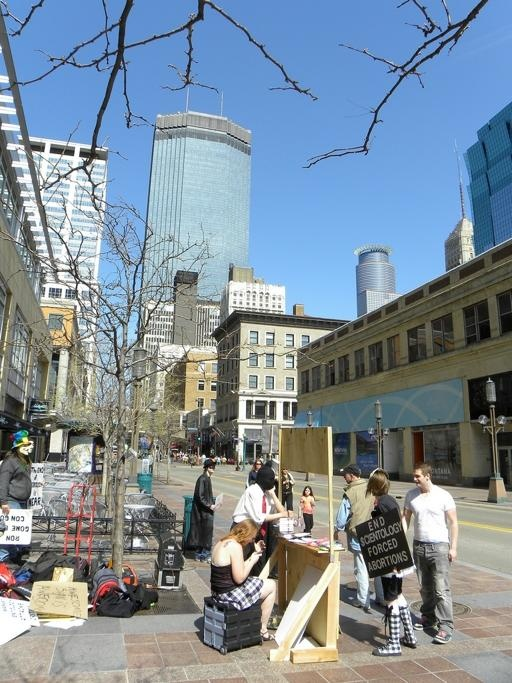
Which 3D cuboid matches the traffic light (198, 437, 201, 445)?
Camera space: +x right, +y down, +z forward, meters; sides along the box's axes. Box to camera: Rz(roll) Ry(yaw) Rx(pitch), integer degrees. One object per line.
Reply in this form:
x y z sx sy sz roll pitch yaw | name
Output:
-10.842 19.497 98.641 0.558 1.536 0.452 1 -13 0 | traffic light

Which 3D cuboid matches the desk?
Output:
0.333 2.638 5.347 0.706 0.932 1.182 9 -13 -18 | desk

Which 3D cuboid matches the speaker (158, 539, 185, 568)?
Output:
-1.153 2.964 7.028 0.344 0.386 0.415 2 -8 -10 | speaker

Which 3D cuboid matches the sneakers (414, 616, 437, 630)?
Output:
1.836 3.156 5.675 0.136 0.134 0.340 12 -22 -19 | sneakers

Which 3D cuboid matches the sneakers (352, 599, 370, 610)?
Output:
1.339 3.382 6.510 0.094 0.100 0.245 3 -3 -22 | sneakers

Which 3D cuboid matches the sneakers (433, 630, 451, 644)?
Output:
1.859 2.967 5.083 0.120 0.087 0.250 -10 -16 42 | sneakers

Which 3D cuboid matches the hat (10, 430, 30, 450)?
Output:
-3.579 1.518 7.880 0.277 0.294 0.295 -7 -12 -35 | hat

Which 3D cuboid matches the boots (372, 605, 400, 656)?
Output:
1.269 2.748 4.833 0.192 0.403 0.368 -12 -18 43 | boots
